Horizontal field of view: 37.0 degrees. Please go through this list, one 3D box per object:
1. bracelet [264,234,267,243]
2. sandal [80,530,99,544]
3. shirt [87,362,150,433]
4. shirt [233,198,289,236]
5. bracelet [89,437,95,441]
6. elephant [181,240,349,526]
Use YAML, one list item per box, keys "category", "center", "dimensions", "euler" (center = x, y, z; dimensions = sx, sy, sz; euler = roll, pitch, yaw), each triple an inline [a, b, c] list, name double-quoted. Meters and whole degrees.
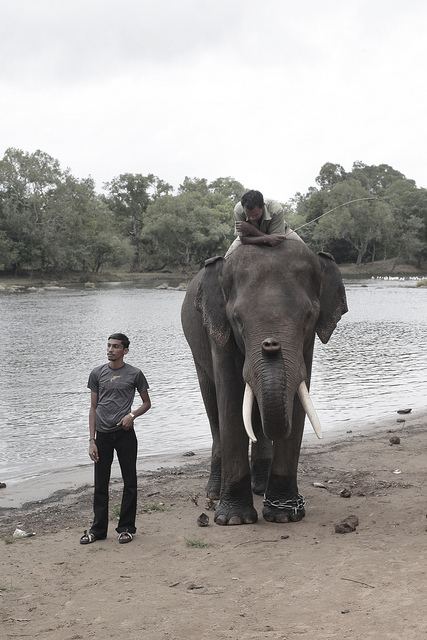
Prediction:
- category: "bracelet"
  center: [0.404, -0.626, 4.989]
  dimensions: [0.016, 0.048, 0.023]
  euler: [-6, -3, -19]
- category: "sandal"
  center: [-0.959, 1.641, 4.801]
  dimensions: [0.127, 0.057, 0.141]
  euler: [-9, -5, 35]
- category: "shirt"
  center: [-0.733, 0.587, 4.900]
  dimensions: [0.431, 0.368, 0.244]
  euler: [-7, -3, 2]
- category: "shirt"
  center: [0.406, -0.846, 5.327]
  dimensions: [0.456, 0.288, 0.557]
  euler: [-7, -4, 3]
- category: "bracelet"
  center: [-0.909, 0.895, 4.799]
  dimensions: [0.033, 0.014, 0.057]
  euler: [-6, -4, -9]
- category: "elephant"
  center: [0.417, 0.568, 5.837]
  dimensions: [1.271, 2.251, 2.997]
  euler: [-1, -4, -2]
